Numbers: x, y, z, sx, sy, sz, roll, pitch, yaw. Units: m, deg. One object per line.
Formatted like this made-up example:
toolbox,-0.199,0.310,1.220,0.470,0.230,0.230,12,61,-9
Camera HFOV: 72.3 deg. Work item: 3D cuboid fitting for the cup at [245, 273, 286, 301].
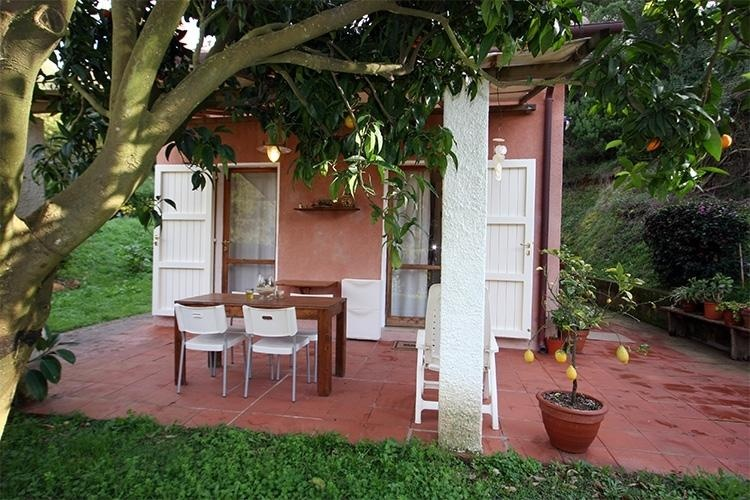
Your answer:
cup,-1.254,0.451,5.901,0.328,0.221,0.335,1,2,0

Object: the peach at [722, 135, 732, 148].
peach,2.195,-0.691,3.227,0.053,0.079,0.184,9,14,32
